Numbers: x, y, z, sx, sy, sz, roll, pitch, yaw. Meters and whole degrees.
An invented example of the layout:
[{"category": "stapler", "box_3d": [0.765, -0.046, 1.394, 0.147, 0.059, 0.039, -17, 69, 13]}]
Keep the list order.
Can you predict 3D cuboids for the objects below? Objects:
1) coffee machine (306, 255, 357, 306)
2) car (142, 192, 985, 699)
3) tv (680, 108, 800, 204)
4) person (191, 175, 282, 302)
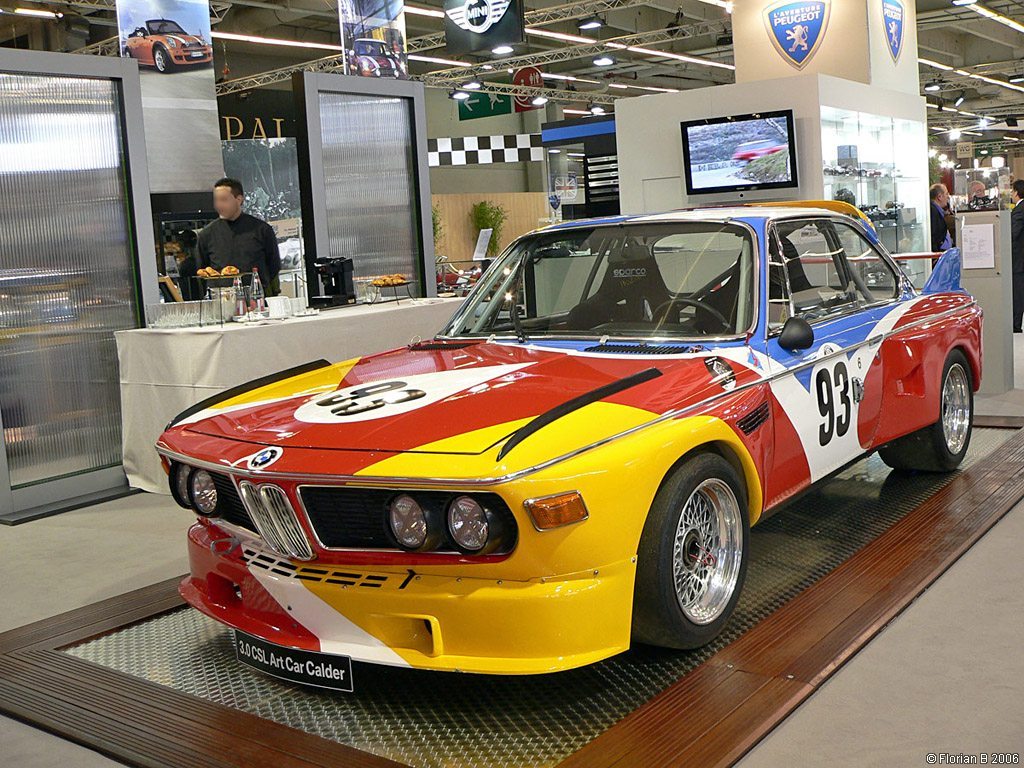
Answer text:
[{"category": "coffee machine", "box_3d": [-1.625, -0.905, 5.869, 0.580, 0.375, 0.557, -11, 14, -38]}, {"category": "car", "box_3d": [0.835, -0.136, 3.766, 4.510, 1.316, 2.114, -16, 13, -41]}, {"category": "tv", "box_3d": [3.557, -3.413, 10.119, 0.508, 1.346, 2.103, -30, 29, -30]}, {"category": "person", "box_3d": [-2.622, -1.164, 6.338, 0.768, 1.357, 0.498, -1, 13, -5]}]
